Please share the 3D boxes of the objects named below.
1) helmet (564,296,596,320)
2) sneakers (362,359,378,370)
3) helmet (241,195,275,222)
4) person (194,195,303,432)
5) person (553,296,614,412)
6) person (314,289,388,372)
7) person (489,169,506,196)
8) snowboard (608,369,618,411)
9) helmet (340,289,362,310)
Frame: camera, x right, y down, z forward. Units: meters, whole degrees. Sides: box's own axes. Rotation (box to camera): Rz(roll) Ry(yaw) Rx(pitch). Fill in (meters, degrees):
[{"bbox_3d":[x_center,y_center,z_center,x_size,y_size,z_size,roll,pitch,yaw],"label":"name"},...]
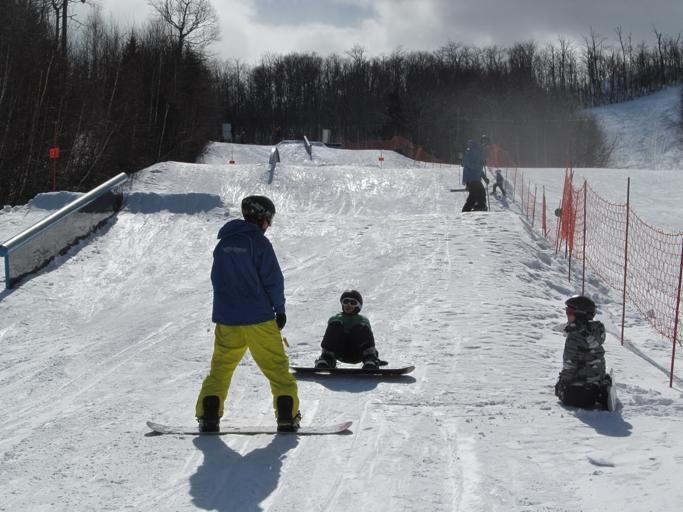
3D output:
[{"bbox_3d":[3.194,0.716,10.087,0.264,0.301,0.369,8,26,-12],"label":"helmet"},{"bbox_3d":[0.430,1.594,10.871,0.127,0.148,0.131,3,-6,-23],"label":"sneakers"},{"bbox_3d":[-0.994,-0.593,8.982,0.357,0.333,0.270,-14,23,-25],"label":"helmet"},{"bbox_3d":[-1.097,0.754,8.931,1.212,2.842,0.578,0,12,-1],"label":"person"},{"bbox_3d":[3.289,1.298,10.139,0.694,1.538,0.682,2,7,31],"label":"person"},{"bbox_3d":[0.130,1.160,11.303,0.871,1.366,0.927,-1,-21,5],"label":"person"},{"bbox_3d":[5.496,-2.609,26.135,0.481,0.939,1.711,3,15,11],"label":"person"},{"bbox_3d":[3.531,1.811,9.896,0.092,0.445,0.401,1,10,7],"label":"snowboard"},{"bbox_3d":[0.165,0.660,11.259,0.209,0.279,0.317,3,8,9],"label":"helmet"}]
